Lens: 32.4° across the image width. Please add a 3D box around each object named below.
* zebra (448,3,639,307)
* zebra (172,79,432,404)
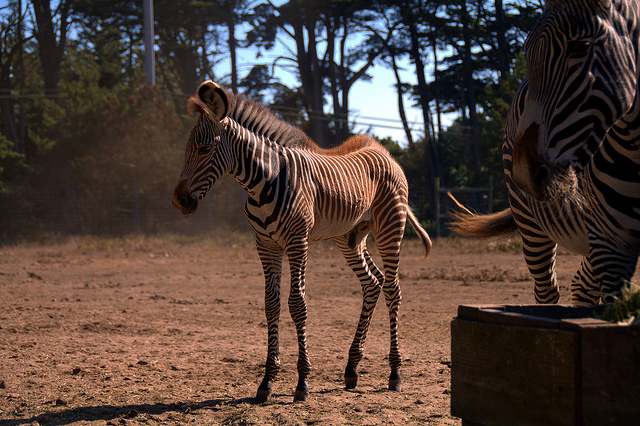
[{"bbox_3d":[5.930,-1.298,26.065,3.149,7.219,2.054,0,6,10],"label":"zebra"},{"bbox_3d":[-0.452,0.601,27.867,5.358,7.848,2.265,-1,6,0],"label":"zebra"}]
